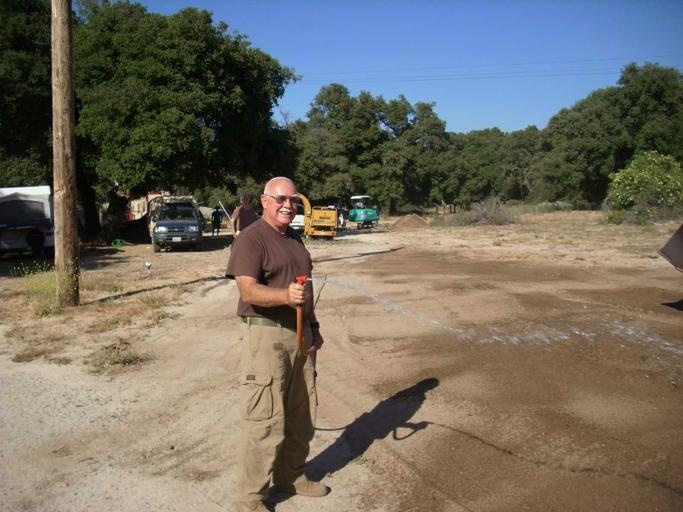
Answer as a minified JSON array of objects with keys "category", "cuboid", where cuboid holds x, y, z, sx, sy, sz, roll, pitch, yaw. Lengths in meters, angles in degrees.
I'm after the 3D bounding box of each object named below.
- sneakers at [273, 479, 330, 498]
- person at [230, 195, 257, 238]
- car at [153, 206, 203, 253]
[{"category":"sneakers","cuboid":[-0.400,2.243,4.782,0.433,0.192,0.215,0,1,-4]},{"category":"person","cuboid":[-3.073,-1.106,15.324,0.738,1.845,0.422,-1,41,-17]},{"category":"car","cuboid":[-8.085,-1.315,23.798,2.182,2.290,2.311,-1,8,-19]}]
